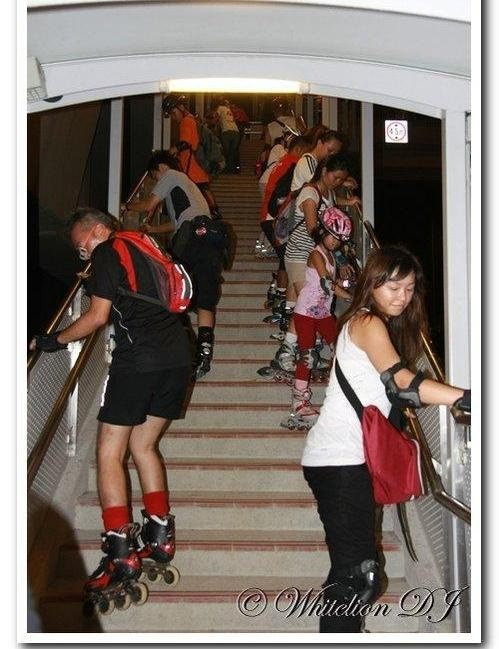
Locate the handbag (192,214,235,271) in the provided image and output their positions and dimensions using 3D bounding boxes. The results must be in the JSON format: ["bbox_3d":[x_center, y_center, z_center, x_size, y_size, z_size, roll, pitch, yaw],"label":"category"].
[{"bbox_3d":[-0.323,-0.810,4.657,0.278,0.662,0.516,-6,7,5],"label":"handbag"}]

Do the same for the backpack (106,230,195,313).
[{"bbox_3d":[-0.535,-0.312,2.950,0.462,0.452,0.374,-1,22,-8],"label":"backpack"}]

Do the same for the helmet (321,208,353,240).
[{"bbox_3d":[0.660,-0.786,4.016,0.195,0.269,0.105,-24,-19,-38],"label":"helmet"}]

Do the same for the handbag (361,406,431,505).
[{"bbox_3d":[0.540,0.491,1.958,0.174,0.409,0.307,8,11,39],"label":"handbag"}]

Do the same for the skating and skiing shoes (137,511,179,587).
[{"bbox_3d":[-0.490,1.224,2.938,0.162,0.245,0.506,-1,8,-5],"label":"skating and skiing shoes"}]
